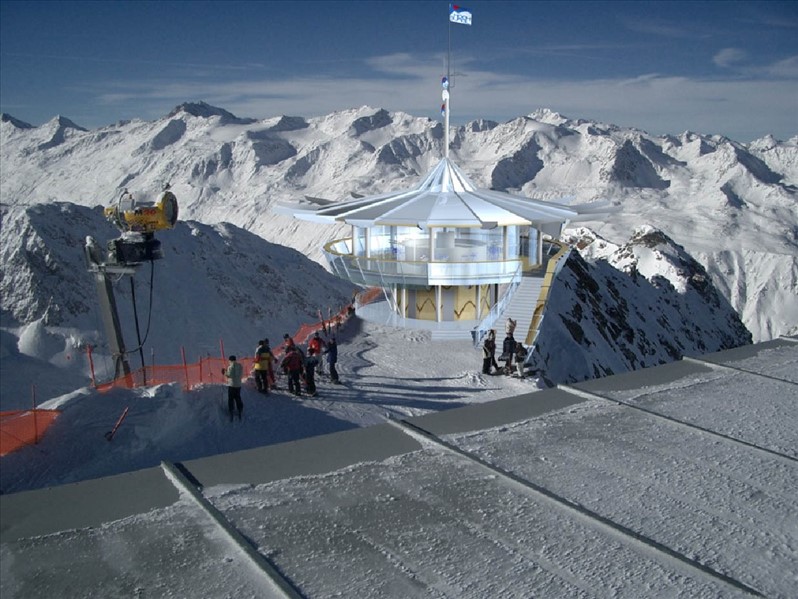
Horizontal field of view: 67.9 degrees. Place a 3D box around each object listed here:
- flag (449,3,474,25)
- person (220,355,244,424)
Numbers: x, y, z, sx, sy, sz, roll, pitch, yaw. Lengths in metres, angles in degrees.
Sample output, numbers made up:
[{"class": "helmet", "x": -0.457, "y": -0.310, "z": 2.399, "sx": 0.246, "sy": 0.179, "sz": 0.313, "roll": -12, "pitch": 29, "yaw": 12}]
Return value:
[{"class": "flag", "x": 3.236, "y": -14.984, "z": 31.168, "sx": 0.979, "sy": 1.254, "sz": 1.897, "roll": 0, "pitch": 9, "yaw": -1}, {"class": "person", "x": -4.833, "y": 2.470, "z": 17.247, "sx": 0.537, "sy": 1.855, "sz": 1.306, "roll": -3, "pitch": 10, "yaw": -16}]
